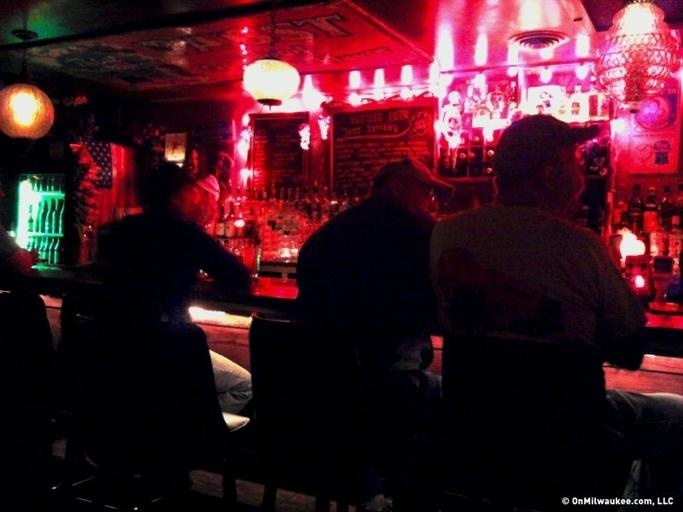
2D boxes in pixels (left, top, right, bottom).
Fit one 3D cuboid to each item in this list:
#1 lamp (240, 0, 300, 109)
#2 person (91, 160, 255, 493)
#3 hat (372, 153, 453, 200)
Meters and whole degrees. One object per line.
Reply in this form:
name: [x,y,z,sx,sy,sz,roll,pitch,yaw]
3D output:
lamp: [-0.482,-1.414,4.385,0.377,0.662,0.661,6,1,-6]
person: [-0.856,0.361,3.582,1.186,1.955,0.893,-7,23,-20]
hat: [0.370,-0.433,3.386,0.383,0.174,0.221,-5,7,-17]
